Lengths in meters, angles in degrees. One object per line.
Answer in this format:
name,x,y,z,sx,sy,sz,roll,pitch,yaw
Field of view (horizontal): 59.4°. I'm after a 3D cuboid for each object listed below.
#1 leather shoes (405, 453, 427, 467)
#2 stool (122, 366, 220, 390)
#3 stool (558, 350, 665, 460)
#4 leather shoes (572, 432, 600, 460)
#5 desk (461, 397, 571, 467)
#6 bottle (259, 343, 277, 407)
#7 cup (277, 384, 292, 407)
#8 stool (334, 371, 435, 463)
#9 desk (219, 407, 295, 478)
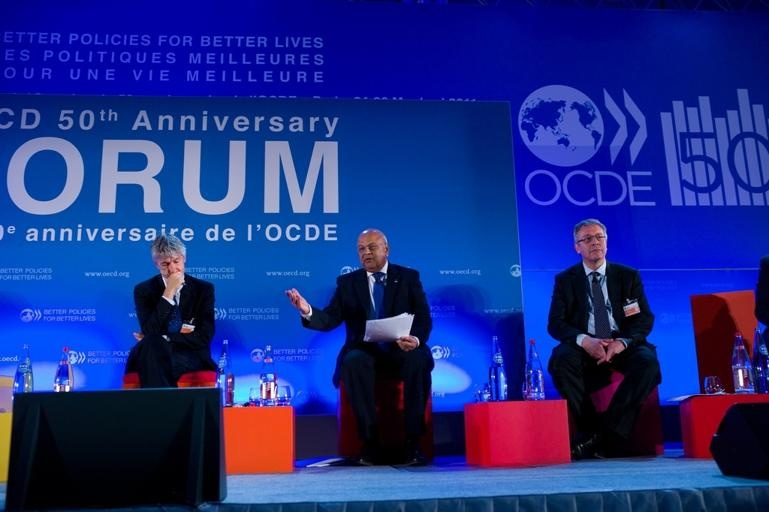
leather shoes,0.217,1.422,4.659,0.160,0.068,0.059,-1,-8,-1
stool,-1.504,0.859,4.734,0.331,0.152,0.225,0,-4,-2
stool,1.620,1.052,5.052,0.670,0.797,0.742,15,-31,1
leather shoes,1.474,1.368,4.858,0.271,0.105,0.096,-13,-2,-33
desk,0.868,1.132,4.589,0.529,0.329,0.527,1,-9,-14
bottle,-0.852,0.917,4.957,0.133,0.321,0.638,-3,-6,-10
cup,-0.720,1.016,4.967,0.088,0.149,0.263,-4,-6,4
stool,0.003,1.210,5.175,0.756,0.735,0.557,0,-8,0
desk,-0.833,1.197,4.310,0.658,0.553,0.211,1,-5,-10
